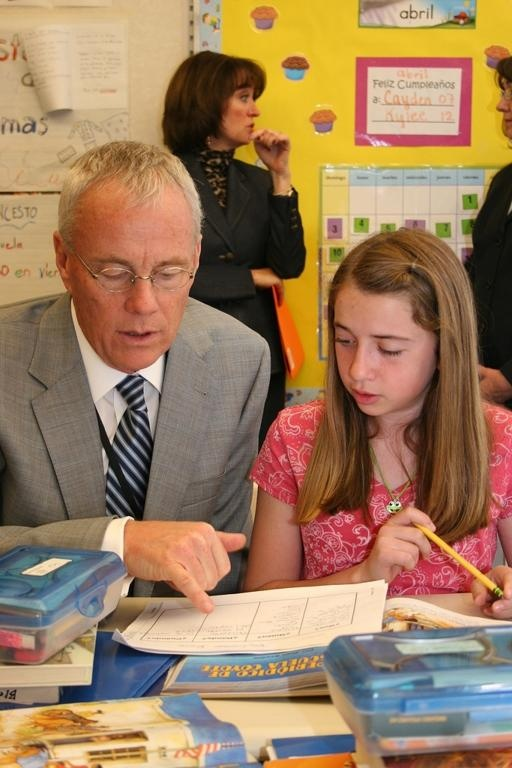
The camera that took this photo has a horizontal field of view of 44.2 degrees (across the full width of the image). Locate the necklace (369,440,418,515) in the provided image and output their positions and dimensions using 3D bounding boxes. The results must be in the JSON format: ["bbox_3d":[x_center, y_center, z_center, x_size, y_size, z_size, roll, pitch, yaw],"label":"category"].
[{"bbox_3d":[0.243,0.165,1.104,0.045,0.127,0.039,-16,-22,7],"label":"necklace"}]
